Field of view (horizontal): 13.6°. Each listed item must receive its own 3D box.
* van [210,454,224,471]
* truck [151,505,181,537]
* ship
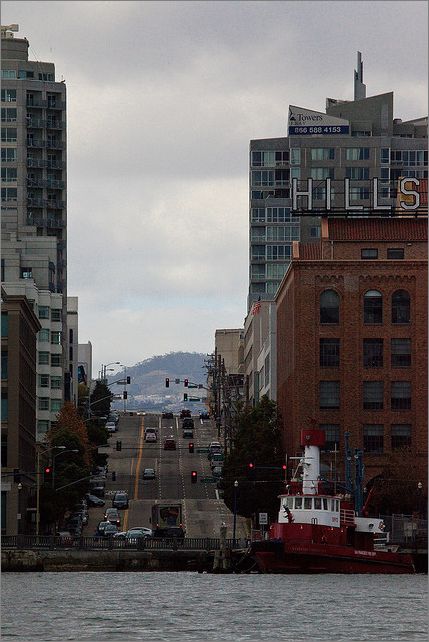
[{"bbox_3d":[0.037,14.100,183.945,0.979,1.272,2.163,1,2,-1],"label":"van"},{"bbox_3d":[-3.766,14.703,135.103,1.337,1.802,2.724,0,0,-2],"label":"truck"},{"bbox_3d":[6.479,10.179,109.946,7.969,10.264,6.688,0,-9,-5],"label":"ship"}]
